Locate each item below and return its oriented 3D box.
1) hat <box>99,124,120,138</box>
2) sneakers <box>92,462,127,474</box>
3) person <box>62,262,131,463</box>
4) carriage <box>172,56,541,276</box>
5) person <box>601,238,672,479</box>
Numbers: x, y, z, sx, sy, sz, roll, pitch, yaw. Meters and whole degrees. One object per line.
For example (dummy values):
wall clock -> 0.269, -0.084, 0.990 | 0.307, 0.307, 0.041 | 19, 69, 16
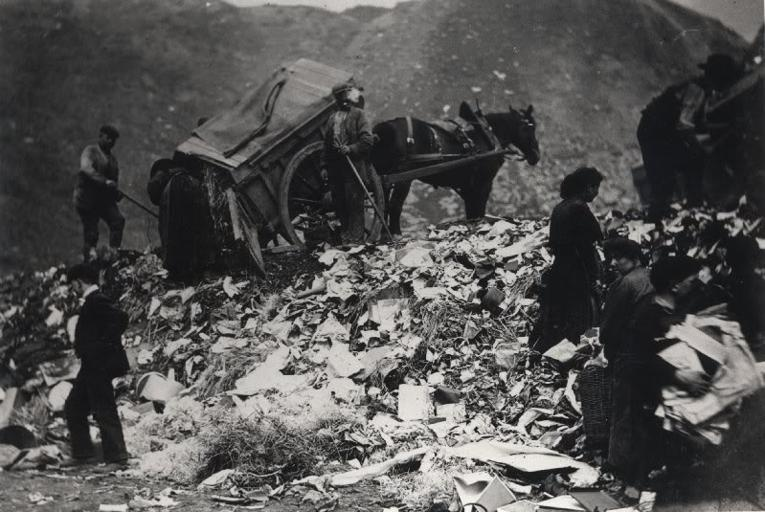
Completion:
hat -> -3.483, -1.589, 13.415 | 0.170, 0.094, 0.203 | 20, 4, -35
sneakers -> -3.406, 2.656, 13.036 | 0.232, 0.066, 0.187 | 7, -20, -5
person -> -3.622, 1.372, 13.218 | 0.817, 2.258, 0.343 | -6, -1, 14
carriage -> 0.113, -1.014, 14.168 | 4.921, 2.507, 1.868 | -9, 1, -24
person -> 3.029, 1.277, 13.017 | 0.758, 3.019, 0.369 | -5, -1, 5
